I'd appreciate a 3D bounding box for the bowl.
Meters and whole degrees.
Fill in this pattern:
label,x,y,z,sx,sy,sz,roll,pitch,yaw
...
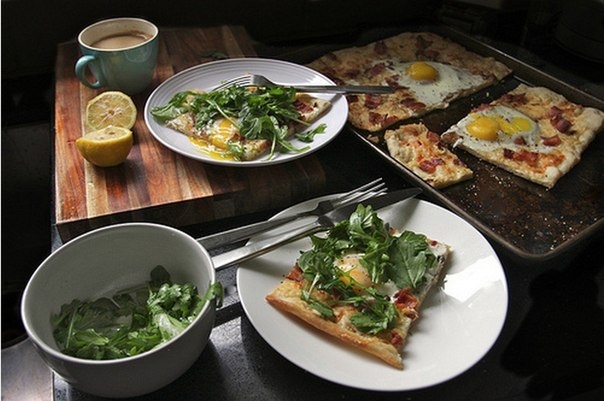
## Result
label,x,y,z,sx,sy,sz,roll,pitch,yaw
bowl,-0.581,0.339,1.475,0.539,0.216,0.563,0,56,0

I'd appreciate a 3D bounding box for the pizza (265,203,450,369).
label,x,y,z,sx,sy,sz,roll,pitch,yaw
pizza,0.208,0.272,1.643,0.564,0.626,0.137,30,20,2

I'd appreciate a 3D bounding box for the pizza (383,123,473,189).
label,x,y,z,sx,sy,sz,roll,pitch,yaw
pizza,0.676,-0.256,2.405,0.288,0.076,0.445,-27,52,-18

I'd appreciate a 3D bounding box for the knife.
label,x,y,z,sx,sy,sz,roll,pitch,yaw
knife,0.067,0.123,1.787,0.814,0.057,0.093,-21,89,-15

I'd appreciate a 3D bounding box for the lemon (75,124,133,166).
label,x,y,z,sx,sy,sz,roll,pitch,yaw
lemon,-0.883,-0.245,2.001,0.234,0.152,0.264,0,28,-9
